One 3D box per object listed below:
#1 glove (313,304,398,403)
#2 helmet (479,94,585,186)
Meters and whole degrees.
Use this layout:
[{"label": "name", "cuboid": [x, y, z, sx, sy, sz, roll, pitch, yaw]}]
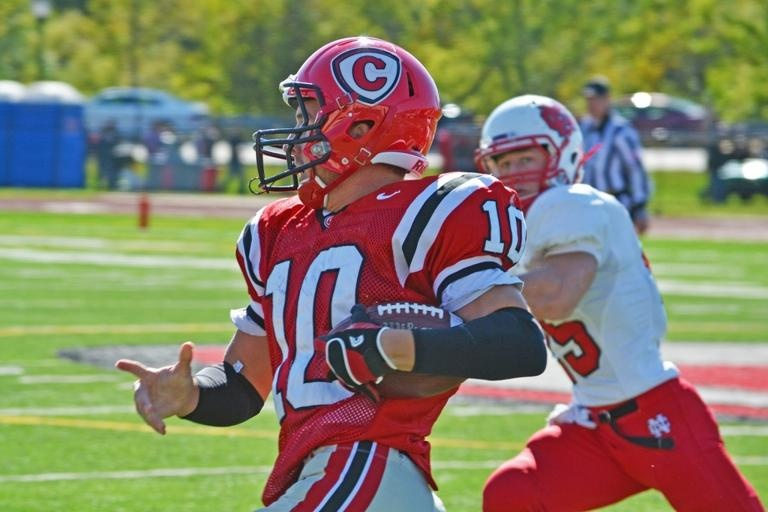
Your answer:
[{"label": "glove", "cuboid": [-0.104, 0.400, 5.090, 0.287, 0.392, 0.179, 0, 8, 2]}, {"label": "helmet", "cuboid": [0.851, -0.624, 6.859, 0.718, 0.471, 0.493, -6, -1, -29]}]
